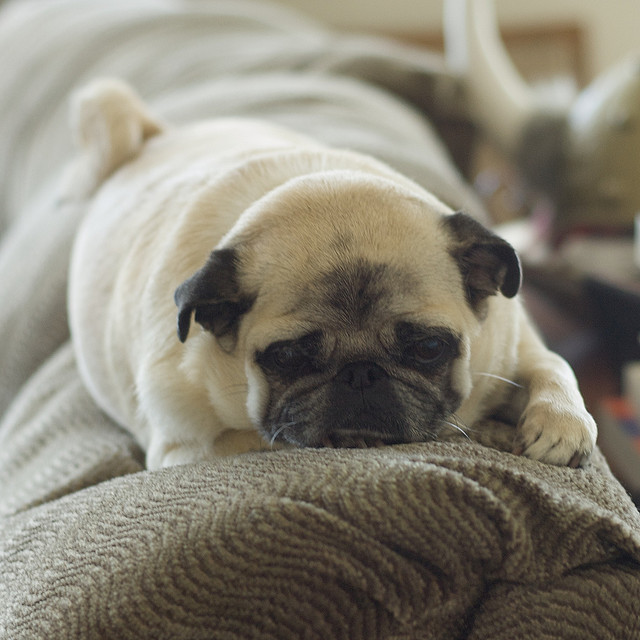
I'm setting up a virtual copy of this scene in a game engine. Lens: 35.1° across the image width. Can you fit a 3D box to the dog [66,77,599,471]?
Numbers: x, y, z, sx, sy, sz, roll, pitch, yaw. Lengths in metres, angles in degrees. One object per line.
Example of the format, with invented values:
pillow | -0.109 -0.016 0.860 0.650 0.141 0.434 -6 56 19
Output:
dog | 0.044 -0.103 1.666 0.583 0.493 0.963 -6 20 -4
